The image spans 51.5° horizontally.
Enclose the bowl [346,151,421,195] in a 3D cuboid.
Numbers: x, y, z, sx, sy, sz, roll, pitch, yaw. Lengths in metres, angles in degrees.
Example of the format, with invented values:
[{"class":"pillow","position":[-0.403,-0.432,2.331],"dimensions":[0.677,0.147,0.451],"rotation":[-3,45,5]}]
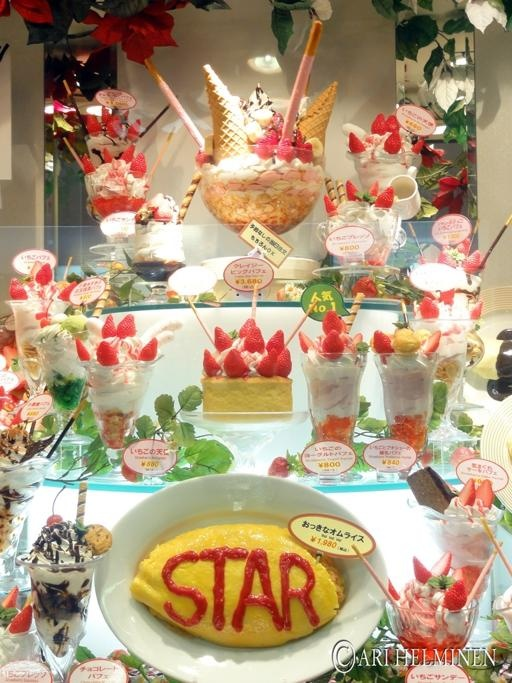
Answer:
[{"class":"bowl","position":[0.405,-0.499,1.672],"dimensions":[0.190,0.130,0.177],"rotation":[0,11,0]}]

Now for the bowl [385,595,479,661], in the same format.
[{"class":"bowl","position":[0.312,0.485,0.911],"dimensions":[0.139,0.089,0.142],"rotation":[-4,-12,-1]}]

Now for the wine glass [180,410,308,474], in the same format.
[{"class":"wine glass","position":[-0.023,0.223,1.117],"dimensions":[0.216,0.132,0.199],"rotation":[-12,-27,28]}]

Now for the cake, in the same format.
[{"class":"cake","position":[0.013,0.033,1.142],"dimensions":[0.273,0.231,0.171],"rotation":[0,5,4]}]

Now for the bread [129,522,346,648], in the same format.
[{"class":"bread","position":[-0.020,0.407,0.900],"dimensions":[0.327,0.177,0.087],"rotation":[1,-28,3]}]

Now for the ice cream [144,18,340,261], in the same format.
[{"class":"ice cream","position":[-0.017,-0.630,1.597],"dimensions":[0.595,0.559,0.430],"rotation":[-10,31,-13]}]

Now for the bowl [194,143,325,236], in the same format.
[{"class":"bowl","position":[0.017,-0.452,1.678],"dimensions":[0.430,0.240,0.397],"rotation":[-2,18,1]}]
